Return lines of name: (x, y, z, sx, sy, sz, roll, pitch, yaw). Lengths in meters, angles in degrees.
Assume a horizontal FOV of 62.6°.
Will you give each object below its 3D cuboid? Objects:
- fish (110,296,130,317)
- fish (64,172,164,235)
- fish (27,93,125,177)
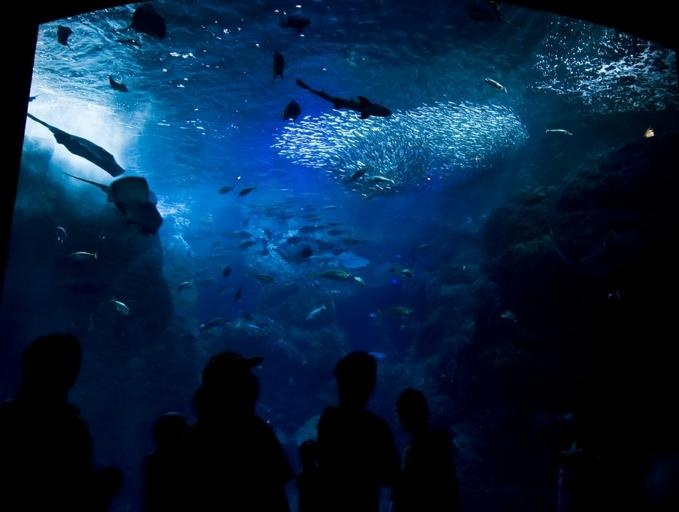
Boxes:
fish: (-5.712, 1.275, 14.640, 0.243, 0.416, 0.626, -28, 23, -32)
fish: (-4.775, -1.198, 12.082, 1.677, 1.434, 1.623, 9, 11, 31)
fish: (-6.172, -2.617, 13.562, 1.721, 1.114, 0.666, 5, -14, -30)
